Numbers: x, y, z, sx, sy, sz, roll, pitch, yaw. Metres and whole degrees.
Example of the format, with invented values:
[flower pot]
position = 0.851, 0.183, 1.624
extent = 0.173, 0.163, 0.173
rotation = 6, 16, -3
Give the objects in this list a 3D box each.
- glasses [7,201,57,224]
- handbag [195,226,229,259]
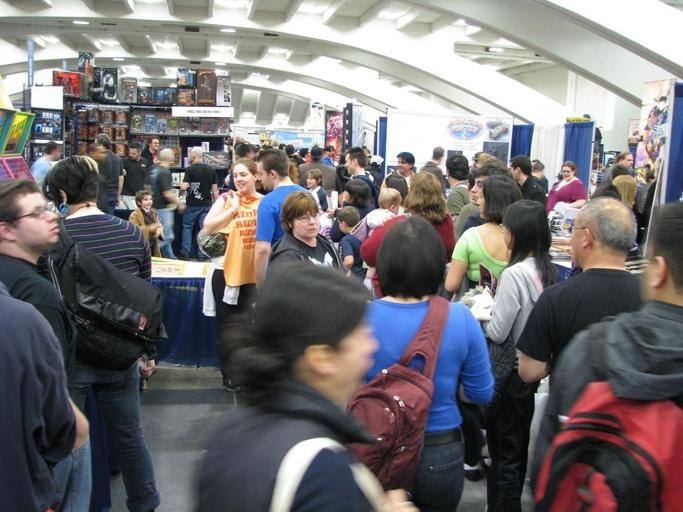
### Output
[glasses]
position = -1.143, -0.145, 1.985
extent = 0.101, 0.029, 0.102
rotation = -17, 4, 12
[handbag]
position = -0.931, -0.096, 3.920
extent = 0.294, 0.165, 0.283
rotation = 1, 16, -15
